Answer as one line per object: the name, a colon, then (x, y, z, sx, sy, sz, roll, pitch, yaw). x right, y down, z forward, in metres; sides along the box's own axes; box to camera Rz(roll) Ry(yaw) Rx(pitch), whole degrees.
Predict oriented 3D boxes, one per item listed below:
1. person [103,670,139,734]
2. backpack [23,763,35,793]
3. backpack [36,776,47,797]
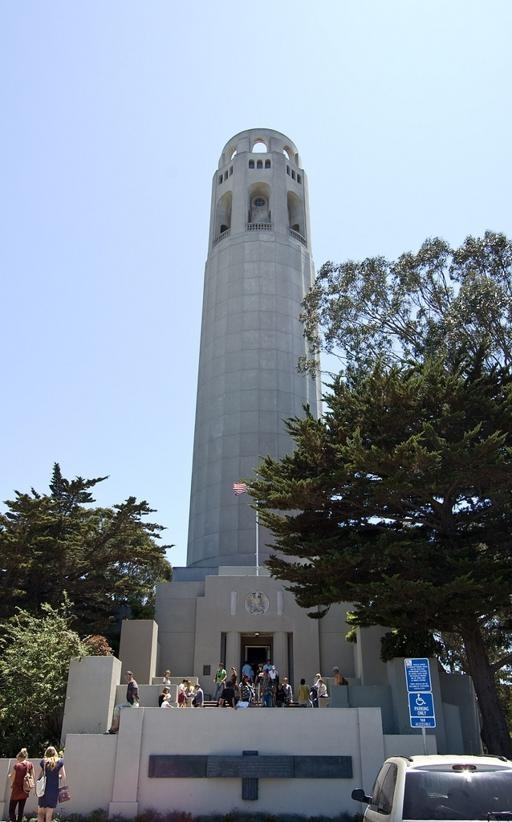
person: (-3.286, 7.180, 13.927, 0.725, 1.293, 0.645, 11, -36, -26)
backpack: (-3.996, 6.481, 9.899, 0.151, 0.415, 0.409, 4, -23, -15)
backpack: (-3.570, 6.259, 9.358, 0.100, 0.286, 0.196, 15, -25, -22)
